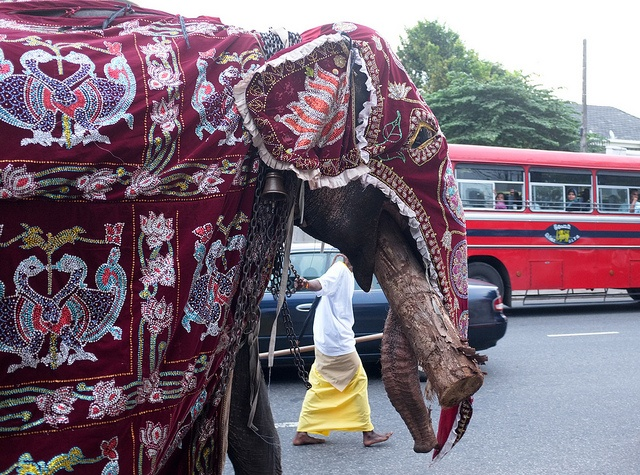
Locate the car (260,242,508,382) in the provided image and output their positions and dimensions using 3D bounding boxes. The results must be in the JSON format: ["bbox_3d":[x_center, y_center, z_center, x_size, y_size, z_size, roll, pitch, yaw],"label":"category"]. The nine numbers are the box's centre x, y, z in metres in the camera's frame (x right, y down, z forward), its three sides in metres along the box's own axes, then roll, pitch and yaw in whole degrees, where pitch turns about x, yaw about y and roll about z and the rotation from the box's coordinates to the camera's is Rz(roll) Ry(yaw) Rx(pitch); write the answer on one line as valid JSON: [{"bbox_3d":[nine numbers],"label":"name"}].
[{"bbox_3d":[0.807,0.871,7.919,3.128,1.059,1.322,2,-3,-12],"label":"car"}]
